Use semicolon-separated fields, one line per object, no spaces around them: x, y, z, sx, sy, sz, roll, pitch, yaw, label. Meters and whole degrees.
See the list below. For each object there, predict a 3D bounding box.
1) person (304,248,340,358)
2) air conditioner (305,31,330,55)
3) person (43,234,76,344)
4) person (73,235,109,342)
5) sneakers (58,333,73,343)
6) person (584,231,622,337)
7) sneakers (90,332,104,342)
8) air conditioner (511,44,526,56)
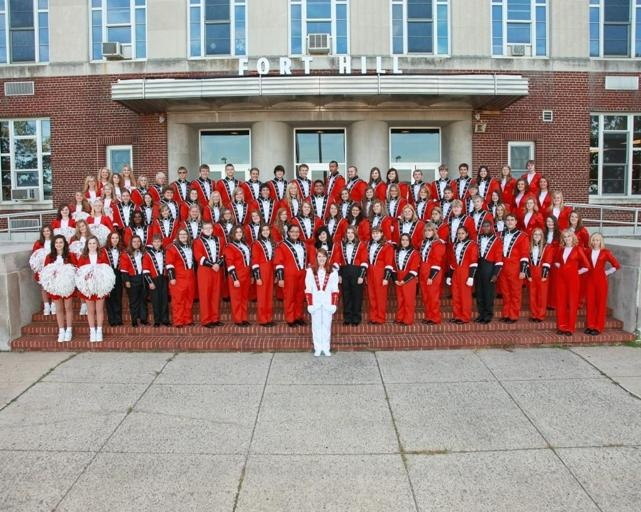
0.005;0.913;15.533;0.652;2.068;0.847;-1;9;0;person
-0.107;-6.338;22.681;0.886;0.660;0.516;0;7;2;air conditioner
-5.591;0.704;16.169;0.895;2.196;0.837;-4;10;-29;person
-4.807;0.663;16.013;0.638;2.128;0.851;-4;9;-17;person
-5.422;1.665;15.914;0.289;0.201;0.319;-5;10;-20;sneakers
6.028;0.549;16.319;0.646;2.060;1.069;2;9;20;person
-4.749;1.638;15.882;0.252;0.253;0.290;-4;10;-16;sneakers
5.985;-6.151;23.011;0.519;0.403;0.289;-1;3;18;air conditioner
